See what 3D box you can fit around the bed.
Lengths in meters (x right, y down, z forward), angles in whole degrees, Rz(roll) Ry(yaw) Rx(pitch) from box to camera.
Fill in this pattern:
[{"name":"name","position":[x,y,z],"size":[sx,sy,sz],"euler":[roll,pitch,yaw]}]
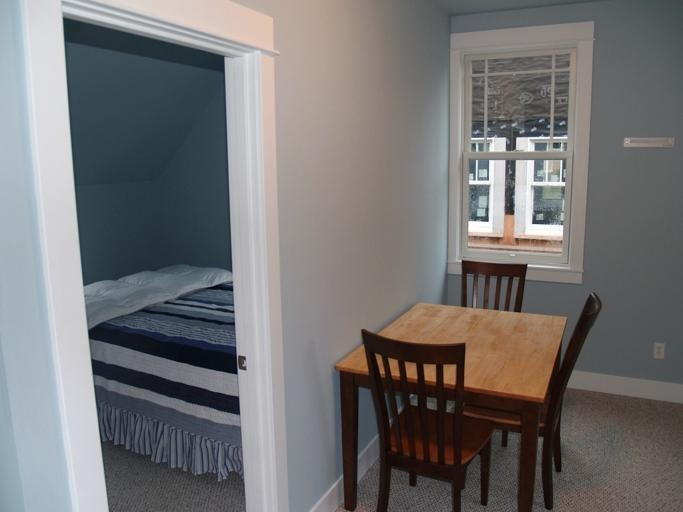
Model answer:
[{"name":"bed","position":[-1.107,0.707,3.330],"size":[1.117,0.360,1.180],"euler":[5,14,19]}]
